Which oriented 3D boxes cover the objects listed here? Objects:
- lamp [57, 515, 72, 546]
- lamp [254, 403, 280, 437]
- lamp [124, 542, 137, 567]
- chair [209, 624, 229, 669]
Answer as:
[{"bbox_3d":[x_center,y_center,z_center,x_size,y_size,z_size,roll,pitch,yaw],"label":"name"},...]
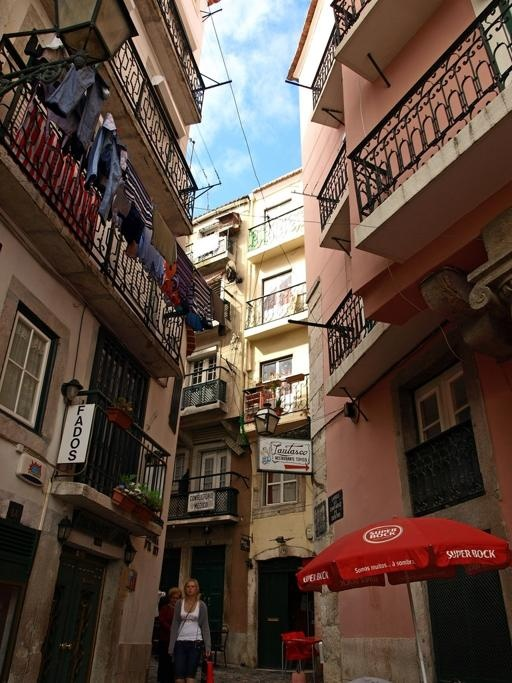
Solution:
[{"bbox_3d":[-2.442,2.384,5.726,0.137,0.325,0.247,3,-28,-3],"label":"lamp"},{"bbox_3d":[0.204,1.539,9.293,0.430,0.722,0.509,-4,-28,10],"label":"lamp"},{"bbox_3d":[-2.148,3.571,7.589,0.131,0.353,0.255,-4,-29,10],"label":"lamp"},{"bbox_3d":[-1.305,10.752,15.960,0.685,1.581,0.918,-7,-42,11],"label":"chair"}]
